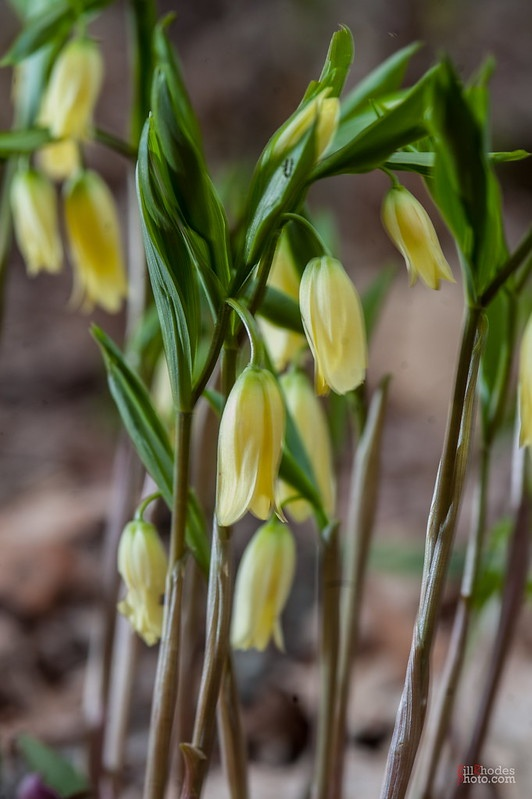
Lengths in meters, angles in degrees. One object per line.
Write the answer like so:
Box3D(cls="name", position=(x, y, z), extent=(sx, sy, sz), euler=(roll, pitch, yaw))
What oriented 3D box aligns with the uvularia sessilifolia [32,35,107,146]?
Box3D(cls="uvularia sessilifolia", position=(-0.092, -0.145, 0.409), extent=(0.024, 0.061, 0.013), euler=(8, -6, -39))
